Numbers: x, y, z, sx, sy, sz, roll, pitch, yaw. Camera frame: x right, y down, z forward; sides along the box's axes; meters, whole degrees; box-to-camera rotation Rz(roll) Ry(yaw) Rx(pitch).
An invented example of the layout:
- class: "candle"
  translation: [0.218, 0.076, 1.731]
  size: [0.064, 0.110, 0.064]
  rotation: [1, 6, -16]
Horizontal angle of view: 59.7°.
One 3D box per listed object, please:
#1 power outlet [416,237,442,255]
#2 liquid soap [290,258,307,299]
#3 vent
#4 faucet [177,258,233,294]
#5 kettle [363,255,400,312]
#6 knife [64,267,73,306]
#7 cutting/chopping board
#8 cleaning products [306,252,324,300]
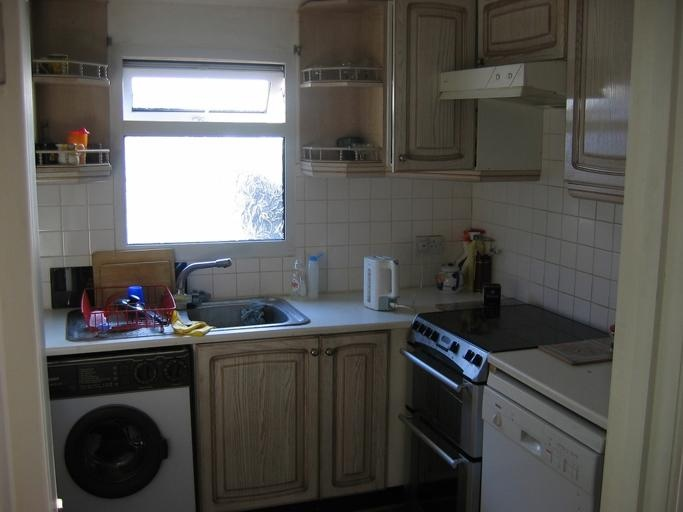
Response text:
- class: "power outlet"
  translation: [0.525, -0.068, 3.522]
  size: [0.144, 0.108, 0.099]
  rotation: [0, 11, -6]
- class: "liquid soap"
  translation: [-0.233, 0.112, 3.304]
  size: [0.078, 0.189, 0.136]
  rotation: [-2, 12, -3]
- class: "vent"
  translation: [0.738, -0.766, 2.612]
  size: [0.559, 0.118, 0.511]
  rotation: [11, 21, 43]
- class: "faucet"
  translation: [-0.716, 0.093, 3.126]
  size: [0.295, 0.177, 0.231]
  rotation: [-4, 13, -10]
- class: "kettle"
  translation: [0.211, 0.142, 3.086]
  size: [0.136, 0.255, 0.230]
  rotation: [-1, 1, -28]
- class: "knife"
  translation: [-1.383, 0.153, 3.032]
  size: [0.043, 0.193, 0.016]
  rotation: [-8, 14, -31]
- class: "cutting/chopping board"
  translation: [-1.054, 0.108, 3.049]
  size: [0.393, 0.286, 0.079]
  rotation: [-6, 12, -18]
- class: "cleaning products"
  translation: [-0.148, 0.105, 3.336]
  size: [0.086, 0.234, 0.147]
  rotation: [-1, 12, 1]
